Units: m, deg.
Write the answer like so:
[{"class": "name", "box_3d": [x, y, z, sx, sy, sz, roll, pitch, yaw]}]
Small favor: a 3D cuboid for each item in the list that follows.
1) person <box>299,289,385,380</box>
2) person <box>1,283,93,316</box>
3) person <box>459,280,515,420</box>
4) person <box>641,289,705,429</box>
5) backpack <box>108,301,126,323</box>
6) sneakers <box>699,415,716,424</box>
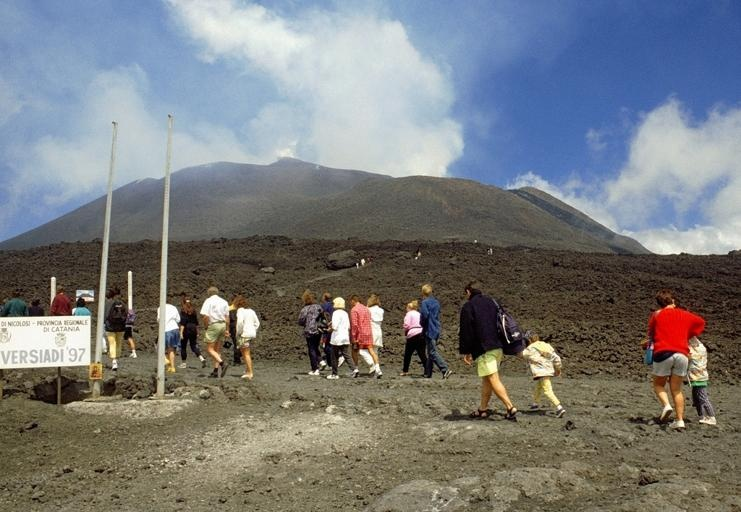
[{"class": "person", "box_3d": [-0.500, 2.198, 16.421, 1.454, 2.267, 1.141, -2, 5, -19]}, {"class": "person", "box_3d": [-9.263, 1.308, 17.133, 2.184, 0.892, 1.334, -2, 6, -19]}, {"class": "person", "box_3d": [2.297, 1.910, 11.797, 1.020, 2.708, 0.530, 1, 5, 12]}, {"class": "person", "box_3d": [5.929, 2.032, 11.825, 0.924, 2.620, 0.640, 2, 5, 24]}, {"class": "backpack", "box_3d": [-6.764, 1.486, 16.005, 0.410, 0.497, 0.252, -4, 7, -42]}, {"class": "sneakers", "box_3d": [6.741, 3.296, 12.019, 0.355, 0.149, 0.131, 1, -17, 24]}]
